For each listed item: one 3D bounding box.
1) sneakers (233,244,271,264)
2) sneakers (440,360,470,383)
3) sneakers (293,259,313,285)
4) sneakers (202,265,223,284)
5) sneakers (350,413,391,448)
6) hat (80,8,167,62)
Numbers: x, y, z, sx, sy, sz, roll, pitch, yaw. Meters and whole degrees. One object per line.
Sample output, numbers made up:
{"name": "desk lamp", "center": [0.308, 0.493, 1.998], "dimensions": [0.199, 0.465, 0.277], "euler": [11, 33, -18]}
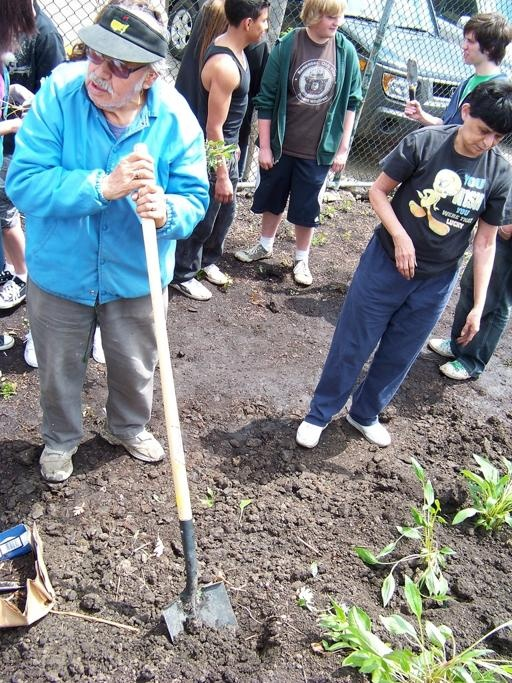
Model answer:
{"name": "sneakers", "center": [-0.031, -0.739, 4.768], "dimensions": [0.351, 0.132, 0.138], "euler": [-10, 52, -28]}
{"name": "sneakers", "center": [1.395, 0.212, 3.958], "dimensions": [0.211, 0.080, 0.105], "euler": [11, 39, -21]}
{"name": "sneakers", "center": [0.389, -0.572, 4.639], "dimensions": [0.113, 0.098, 0.252], "euler": [-7, 36, -4]}
{"name": "sneakers", "center": [-0.321, -0.524, 4.330], "dimensions": [0.195, 0.074, 0.097], "euler": [38, 59, 22]}
{"name": "sneakers", "center": [0.653, 0.523, 3.300], "dimensions": [0.257, 0.099, 0.134], "euler": [34, 54, 27]}
{"name": "hat", "center": [-0.410, -0.913, 1.752], "dimensions": [0.192, 0.092, 0.245], "euler": [31, 31, 9]}
